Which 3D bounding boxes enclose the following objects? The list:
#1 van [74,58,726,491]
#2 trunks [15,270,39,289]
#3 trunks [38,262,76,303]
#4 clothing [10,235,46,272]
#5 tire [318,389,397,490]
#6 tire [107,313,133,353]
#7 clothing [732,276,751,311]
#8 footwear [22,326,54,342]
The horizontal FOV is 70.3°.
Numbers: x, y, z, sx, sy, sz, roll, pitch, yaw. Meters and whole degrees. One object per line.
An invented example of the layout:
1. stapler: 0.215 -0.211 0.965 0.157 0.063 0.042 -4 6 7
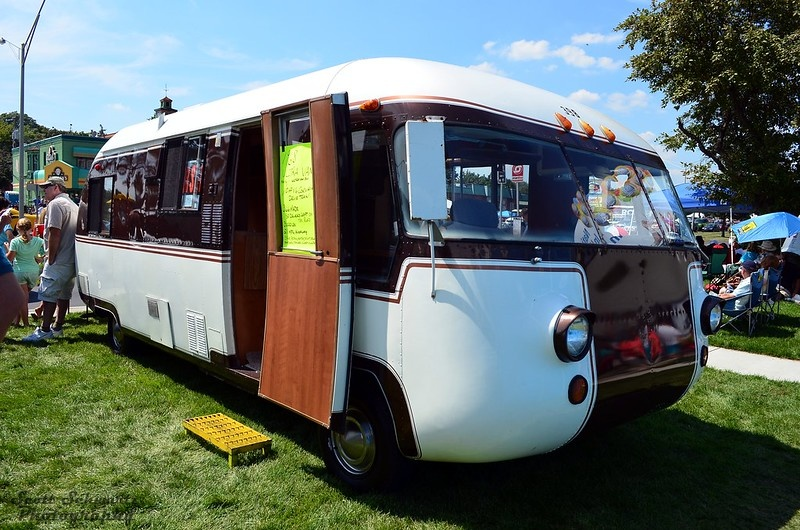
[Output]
1. van: -0.659 -0.194 6.821 3.855 3.056 6.245 -4 8 -40
2. trunks: -6.212 0.218 9.401 0.271 0.300 0.395 13 8 42
3. trunks: -5.774 0.279 9.504 0.389 0.776 0.601 11 -2 10
4. clothing: -6.646 -0.201 10.080 0.314 0.604 0.596 11 6 30
5. tire: -0.364 1.600 5.254 0.298 0.870 0.800 1 13 -46
6. tire: -4.227 1.020 8.565 0.231 0.685 0.584 -4 10 -41
7. clothing: 6.316 0.498 10.403 0.265 0.673 0.301 7 12 32
8. footwear: -6.020 1.135 9.328 0.521 0.243 0.189 4 -1 -41
